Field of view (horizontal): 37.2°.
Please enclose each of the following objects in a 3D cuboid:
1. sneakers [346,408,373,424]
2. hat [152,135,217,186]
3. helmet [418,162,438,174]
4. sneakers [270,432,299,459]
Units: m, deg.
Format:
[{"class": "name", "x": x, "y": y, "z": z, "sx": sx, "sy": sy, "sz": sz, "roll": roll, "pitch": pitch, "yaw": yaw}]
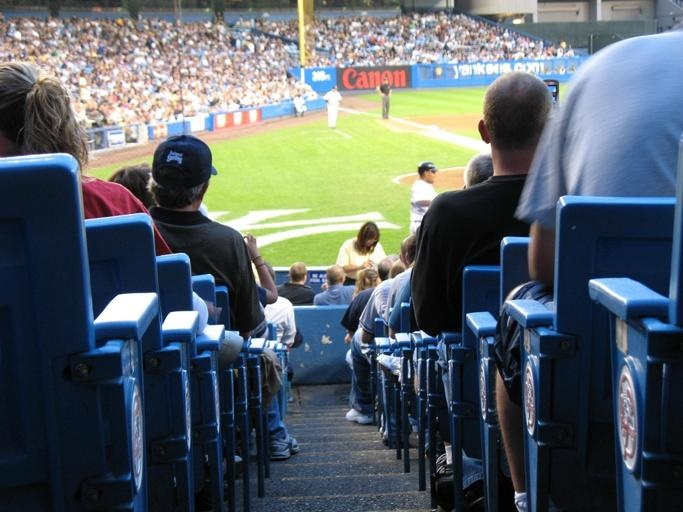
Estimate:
[{"class": "sneakers", "x": 0.105, "y": 0.918, "z": 5.855, "sx": 0.123, "sy": 0.098, "sz": 0.067, "roll": 1, "pitch": 0, "yaw": 40}, {"class": "hat", "x": -0.601, "y": -0.375, "z": 3.866, "sx": 0.210, "sy": 0.190, "sz": 0.346, "roll": 9, "pitch": 10, "yaw": -3}, {"class": "helmet", "x": 0.979, "y": -0.961, "z": 11.354, "sx": 0.136, "sy": 0.122, "sz": 0.195, "roll": 11, "pitch": 21, "yaw": 34}, {"class": "sneakers", "x": -0.264, "y": 0.873, "z": 4.610, "sx": 0.054, "sy": 0.077, "sz": 0.154, "roll": -2, "pitch": -2, "yaw": 18}]
